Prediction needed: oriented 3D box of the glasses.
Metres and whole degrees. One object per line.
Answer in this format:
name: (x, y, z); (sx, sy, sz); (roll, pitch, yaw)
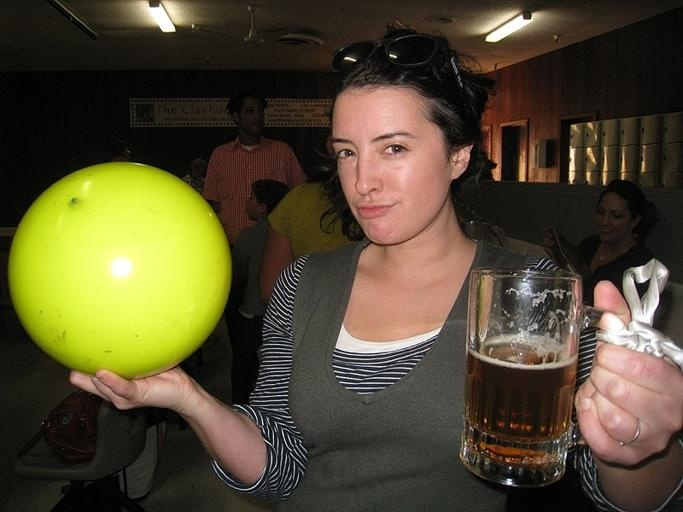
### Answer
glasses: (0.136, -0.502, 1.350); (0.320, 0.158, 0.106); (15, 17, 30)

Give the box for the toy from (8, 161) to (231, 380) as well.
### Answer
toy: (-0.473, 0.040, 1.079); (0.433, 0.437, 0.171); (-5, 13, -7)

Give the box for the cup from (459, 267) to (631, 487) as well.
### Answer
cup: (0.333, 0.200, 1.004); (0.255, 0.389, 0.268); (6, 11, -1)

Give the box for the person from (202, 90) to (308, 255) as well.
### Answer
person: (-0.814, -0.815, 4.671); (0.782, 1.490, 0.602); (-6, 19, -32)

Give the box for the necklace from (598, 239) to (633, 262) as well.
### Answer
necklace: (1.683, -0.016, 3.105); (0.150, 0.107, 0.135); (17, -21, -11)

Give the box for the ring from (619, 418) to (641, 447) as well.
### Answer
ring: (0.507, 0.306, 0.883); (0.010, 0.040, 0.044); (31, 21, 27)
